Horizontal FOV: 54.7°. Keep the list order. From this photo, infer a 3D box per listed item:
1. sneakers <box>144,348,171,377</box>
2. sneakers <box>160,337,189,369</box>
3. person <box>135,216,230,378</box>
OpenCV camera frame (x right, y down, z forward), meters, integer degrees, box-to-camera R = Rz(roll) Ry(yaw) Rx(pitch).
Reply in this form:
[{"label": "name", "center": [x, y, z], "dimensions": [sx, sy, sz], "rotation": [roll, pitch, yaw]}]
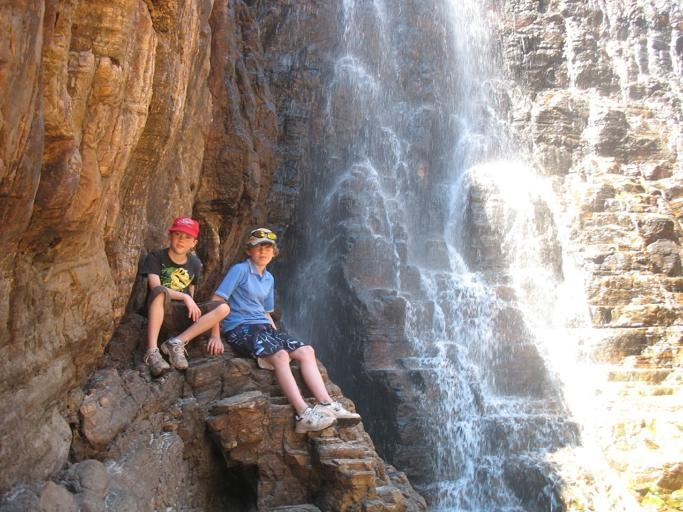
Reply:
[{"label": "sneakers", "center": [-1.862, 1.043, 6.653], "dimensions": [0.147, 0.185, 0.358], "rotation": [-29, 29, -27]}, {"label": "sneakers", "center": [-1.730, 0.962, 6.870], "dimensions": [0.367, 0.153, 0.185], "rotation": [-19, 35, -9]}, {"label": "person", "center": [-1.705, 0.409, 7.115], "dimensions": [0.853, 1.654, 0.968], "rotation": [3, -2, -18]}]
